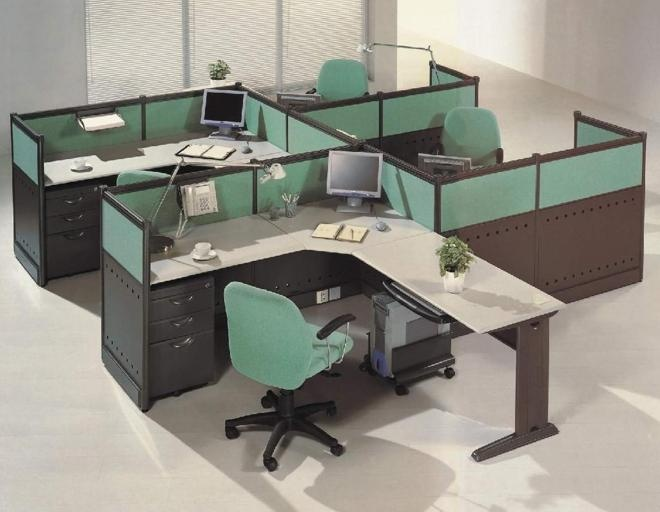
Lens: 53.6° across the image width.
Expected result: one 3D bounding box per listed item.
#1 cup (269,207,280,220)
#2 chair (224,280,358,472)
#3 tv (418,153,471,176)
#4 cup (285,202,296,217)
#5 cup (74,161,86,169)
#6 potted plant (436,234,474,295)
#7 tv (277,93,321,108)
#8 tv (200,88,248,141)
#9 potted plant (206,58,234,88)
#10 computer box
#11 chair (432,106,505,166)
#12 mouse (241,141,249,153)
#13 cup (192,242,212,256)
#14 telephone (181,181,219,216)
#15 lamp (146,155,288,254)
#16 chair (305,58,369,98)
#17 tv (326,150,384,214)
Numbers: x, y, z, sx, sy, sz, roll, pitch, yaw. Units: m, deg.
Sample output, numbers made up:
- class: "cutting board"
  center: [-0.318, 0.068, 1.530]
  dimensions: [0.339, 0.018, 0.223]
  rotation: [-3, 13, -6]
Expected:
- class: "cup"
  center: [-0.391, -0.304, 4.608]
  dimensions: [0.076, 0.074, 0.086]
  rotation: [-1, 17, -4]
- class: "chair"
  center: [-0.219, 0.597, 3.762]
  dimensions: [0.736, 1.003, 0.744]
  rotation: [17, 22, 42]
- class: "tv"
  center: [0.841, -0.677, 4.858]
  dimensions: [0.207, 0.130, 0.376]
  rotation: [-21, 29, -32]
- class: "cup"
  center: [-0.278, -0.329, 4.673]
  dimensions: [0.082, 0.087, 0.086]
  rotation: [0, 6, 0]
- class: "cup"
  center: [-2.045, -0.743, 5.316]
  dimensions: [0.062, 0.036, 0.060]
  rotation: [1, 13, 0]
- class: "potted plant"
  center: [0.703, 0.042, 3.684]
  dimensions: [0.199, 0.265, 0.239]
  rotation: [-2, 25, 5]
- class: "tv"
  center: [-0.303, -1.469, 6.155]
  dimensions: [0.289, 0.168, 0.037]
  rotation: [1, 1, 0]
- class: "tv"
  center: [-0.995, -1.348, 6.114]
  dimensions: [0.456, 0.423, 0.231]
  rotation: [8, 16, 17]
- class: "potted plant"
  center: [-1.132, -1.870, 6.666]
  dimensions: [0.193, 0.223, 0.360]
  rotation: [-9, 25, -9]
- class: "computer box"
  center: [0.540, 0.518, 4.419]
  dimensions: [0.506, 0.518, 0.336]
  rotation: [-9, 15, -26]
- class: "chair"
  center: [1.149, -1.119, 6.024]
  dimensions: [0.546, 0.719, 0.604]
  rotation: [0, 13, 2]
- class: "mouse"
  center: [-0.746, -0.967, 5.777]
  dimensions: [0.113, 0.093, 0.109]
  rotation: [-1, 12, -11]
- class: "cup"
  center: [-0.798, -0.040, 4.107]
  dimensions: [0.077, 0.051, 0.108]
  rotation: [0, 5, 1]
- class: "telephone"
  center: [-0.864, -0.382, 4.324]
  dimensions: [0.222, 0.200, 0.090]
  rotation: [-13, 20, -27]
- class: "lamp"
  center: [-0.727, -0.310, 4.362]
  dimensions: [1.016, 0.628, 0.306]
  rotation: [-2, -9, -25]
- class: "chair"
  center: [0.091, -1.988, 7.331]
  dimensions: [0.635, 0.418, 0.250]
  rotation: [-4, 25, 1]
- class: "tv"
  center: [0.178, -0.552, 4.724]
  dimensions: [0.418, 0.399, 0.214]
  rotation: [4, 20, 11]
